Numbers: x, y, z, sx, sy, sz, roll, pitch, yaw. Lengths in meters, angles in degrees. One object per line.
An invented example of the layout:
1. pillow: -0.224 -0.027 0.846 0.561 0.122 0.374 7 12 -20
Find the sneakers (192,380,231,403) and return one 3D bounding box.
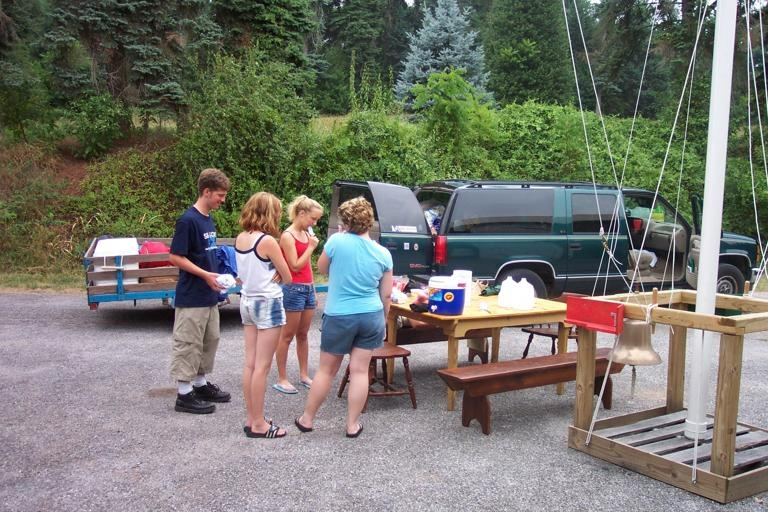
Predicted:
1. sneakers: -2.117 1.679 7.957 0.517 0.223 0.190 2 2 -4

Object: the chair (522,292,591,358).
1. chair: 2.315 1.095 9.339 0.596 0.855 0.581 4 -3 12

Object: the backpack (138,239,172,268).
1. backpack: -3.838 -0.056 10.788 0.589 0.613 0.442 -7 7 -26

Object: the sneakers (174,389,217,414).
1. sneakers: -2.228 1.738 7.723 0.488 0.274 0.221 1 1 -9

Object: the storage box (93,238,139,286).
1. storage box: -4.320 0.094 10.422 0.683 0.705 0.548 -3 6 -20

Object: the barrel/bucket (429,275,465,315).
1. barrel/bucket: 0.781 0.493 7.978 0.461 0.470 0.462 1 2 0

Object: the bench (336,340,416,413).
1. bench: -0.075 1.518 8.157 0.808 0.732 0.988 1 0 -3

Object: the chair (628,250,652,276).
1. chair: 4.354 0.115 11.023 0.520 0.274 0.412 -6 7 -2

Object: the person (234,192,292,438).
1. person: -1.340 0.644 7.282 0.583 2.705 0.564 -3 6 -13

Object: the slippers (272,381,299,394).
1. slippers: -1.261 1.679 8.290 0.277 0.102 0.131 1 1 34

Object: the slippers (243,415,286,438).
1. slippers: -1.325 1.908 7.200 0.359 0.121 0.198 -1 7 -13

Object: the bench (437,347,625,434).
1. bench: 1.962 1.648 8.018 2.731 0.714 0.541 -2 4 -29

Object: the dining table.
1. dining table: 1.033 0.788 8.398 1.870 0.962 1.552 -4 7 -34

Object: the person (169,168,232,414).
1. person: -2.199 0.413 7.693 0.756 2.873 0.554 -4 6 -24

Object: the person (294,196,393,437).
1. person: -0.390 0.682 7.432 0.976 2.701 0.785 4 1 0

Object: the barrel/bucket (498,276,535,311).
1. barrel/bucket: 1.696 0.504 8.298 0.498 0.453 0.304 0 3 9
